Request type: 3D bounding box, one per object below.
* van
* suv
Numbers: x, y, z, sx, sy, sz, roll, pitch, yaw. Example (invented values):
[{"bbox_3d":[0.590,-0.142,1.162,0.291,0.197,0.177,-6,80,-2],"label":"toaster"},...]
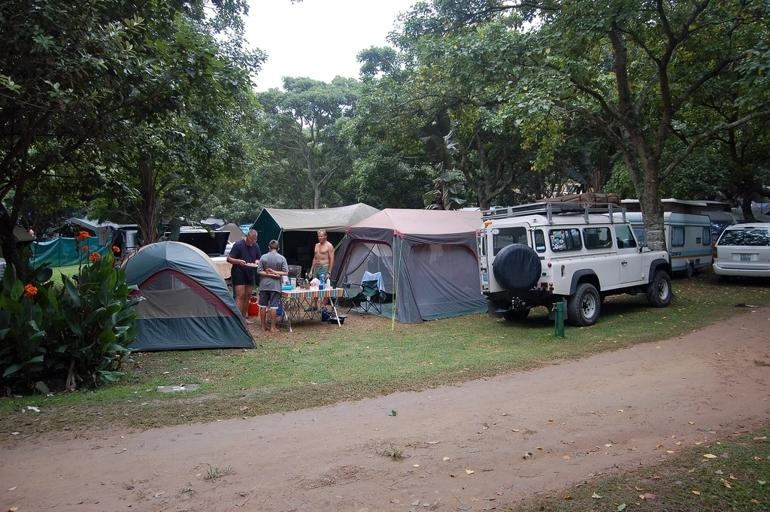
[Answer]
[{"bbox_3d":[9.237,-0.495,21.477,4.260,2.312,2.442,-5,6,-43],"label":"van"},{"bbox_3d":[4.633,0.007,15.464,5.755,2.833,2.198,-7,10,-33],"label":"suv"}]
